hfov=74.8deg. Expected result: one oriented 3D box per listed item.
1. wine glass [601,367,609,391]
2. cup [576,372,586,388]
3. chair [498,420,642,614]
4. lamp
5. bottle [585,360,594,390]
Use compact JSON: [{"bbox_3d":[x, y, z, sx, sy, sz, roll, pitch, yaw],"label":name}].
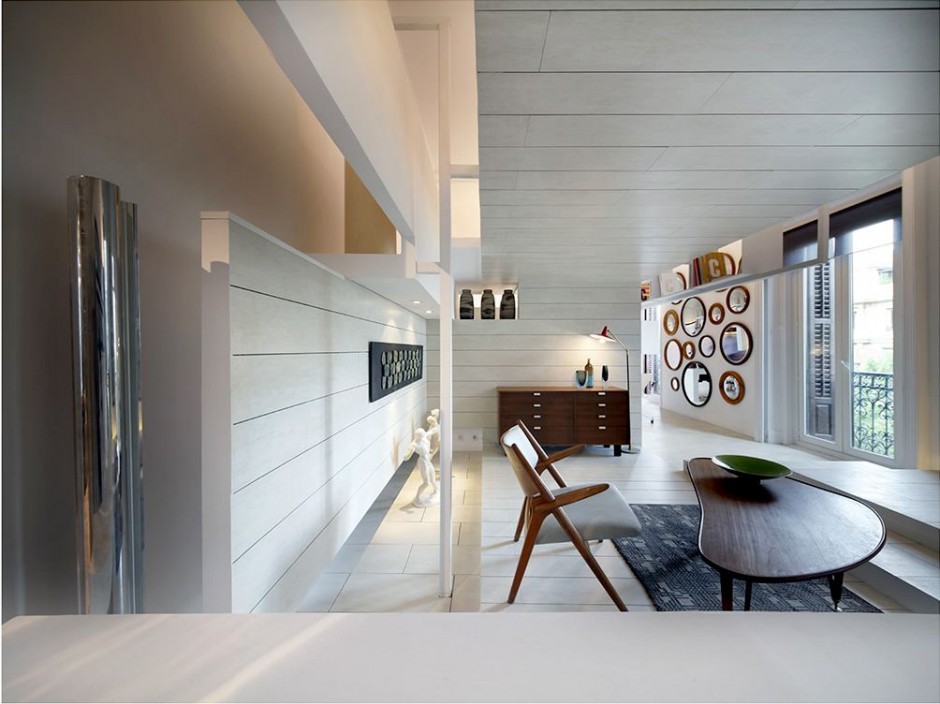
[{"bbox_3d":[1.382,0.259,6.262,0.070,0.214,0.177,0,-1,16],"label":"wine glass"},{"bbox_3d":[1.127,0.285,6.220,0.090,0.168,0.056,0,0,17],"label":"cup"},{"bbox_3d":[0.508,0.809,3.179,0.747,0.783,0.773,9,13,38],"label":"chair"},{"bbox_3d":[1.498,0.413,6.265,0.527,1.268,0.323,0,4,30],"label":"lamp"},{"bbox_3d":[1.208,0.232,6.227,0.092,0.295,0.203,0,0,11],"label":"bottle"}]
